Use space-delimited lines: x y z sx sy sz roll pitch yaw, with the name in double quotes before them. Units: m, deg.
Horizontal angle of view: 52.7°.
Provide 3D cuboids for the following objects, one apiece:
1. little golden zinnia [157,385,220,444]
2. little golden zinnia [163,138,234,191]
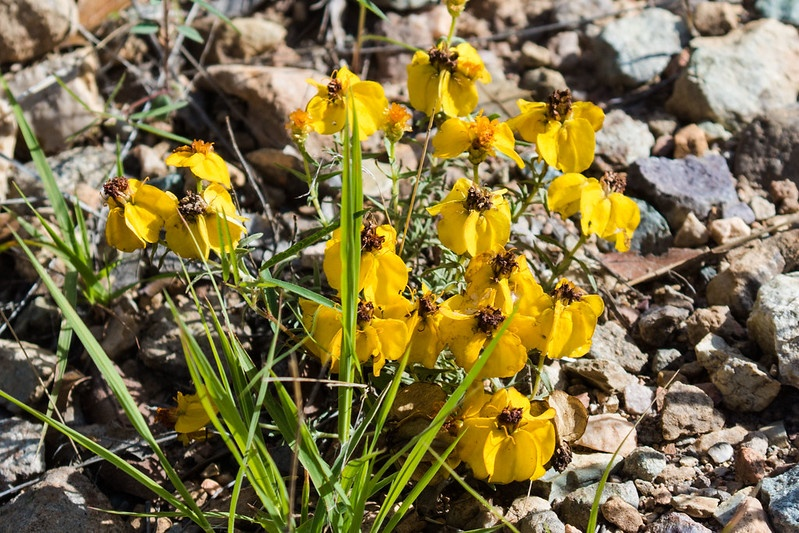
"little golden zinnia" -1.014 0.732 4.032 0.272 0.314 0.119 5 53 -31
"little golden zinnia" -0.989 -0.513 3.948 0.254 0.143 0.261 -7 47 -44
